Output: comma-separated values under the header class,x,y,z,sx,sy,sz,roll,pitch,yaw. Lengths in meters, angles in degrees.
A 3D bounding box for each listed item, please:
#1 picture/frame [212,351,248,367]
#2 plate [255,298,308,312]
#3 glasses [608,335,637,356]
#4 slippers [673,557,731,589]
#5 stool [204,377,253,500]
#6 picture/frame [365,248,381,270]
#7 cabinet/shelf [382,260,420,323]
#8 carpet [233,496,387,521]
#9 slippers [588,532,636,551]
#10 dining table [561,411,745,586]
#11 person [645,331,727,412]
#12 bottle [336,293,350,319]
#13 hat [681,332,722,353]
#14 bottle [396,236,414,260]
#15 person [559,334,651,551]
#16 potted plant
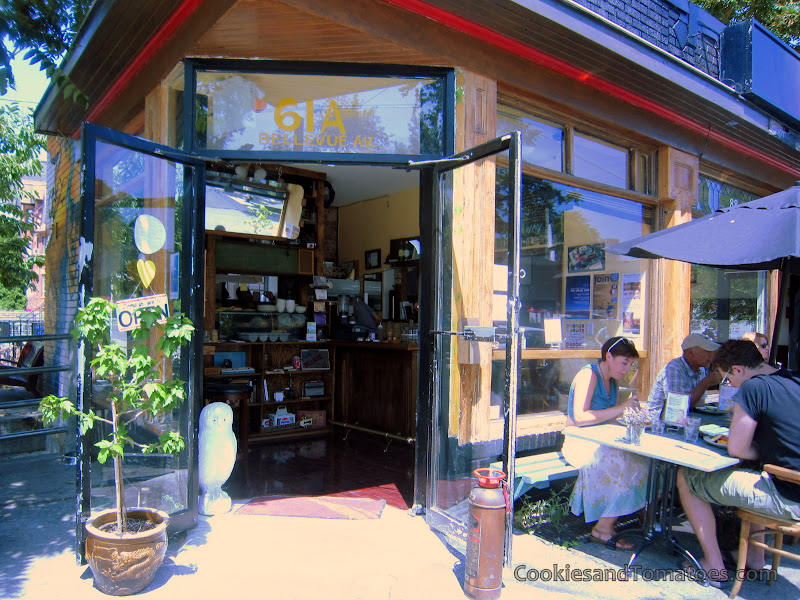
class,x,y,z,sx,sy,sz,roll,pitch,yaw
picture/frame,-2.157,0.739,8.112,0.301,0.221,0.070,4,-4,-41
plate,-1.601,0.070,8.718,0.665,0.174,0.177,-1,5,-23
glasses,1.874,0.371,5.401,0.140,0.113,0.201,2,-39,6
slippers,2.274,2.058,4.836,0.270,0.072,0.173,5,13,25
stool,-1.598,1.356,5.834,0.568,0.812,0.554,1,-1,-34
picture/frame,-0.440,-0.682,10.551,0.032,0.312,0.341,0,-1,-28
cabinet/shelf,0.033,-0.140,9.640,0.304,1.030,0.908,1,-2,-22
carpet,-0.792,1.844,5.764,1.325,0.027,0.581,1,4,3
slippers,1.730,1.985,5.285,0.246,0.071,0.137,1,3,33
dining table,1.945,1.261,4.993,1.189,0.957,0.945,-1,5,-42
person,2.594,0.641,5.867,0.552,0.780,0.667,6,5,-11
bottle,-0.806,0.085,9.208,0.185,0.290,0.523,1,4,-6
hat,2.750,0.389,5.869,0.275,0.154,0.179,2,2,35
bottle,0.076,-0.794,9.873,0.091,0.325,0.352,-2,5,-37
person,1.701,1.178,5.436,0.620,1.585,0.751,7,7,-10
potted plant,-2.023,0.990,4.712,0.945,2.038,0.839,0,4,-17
